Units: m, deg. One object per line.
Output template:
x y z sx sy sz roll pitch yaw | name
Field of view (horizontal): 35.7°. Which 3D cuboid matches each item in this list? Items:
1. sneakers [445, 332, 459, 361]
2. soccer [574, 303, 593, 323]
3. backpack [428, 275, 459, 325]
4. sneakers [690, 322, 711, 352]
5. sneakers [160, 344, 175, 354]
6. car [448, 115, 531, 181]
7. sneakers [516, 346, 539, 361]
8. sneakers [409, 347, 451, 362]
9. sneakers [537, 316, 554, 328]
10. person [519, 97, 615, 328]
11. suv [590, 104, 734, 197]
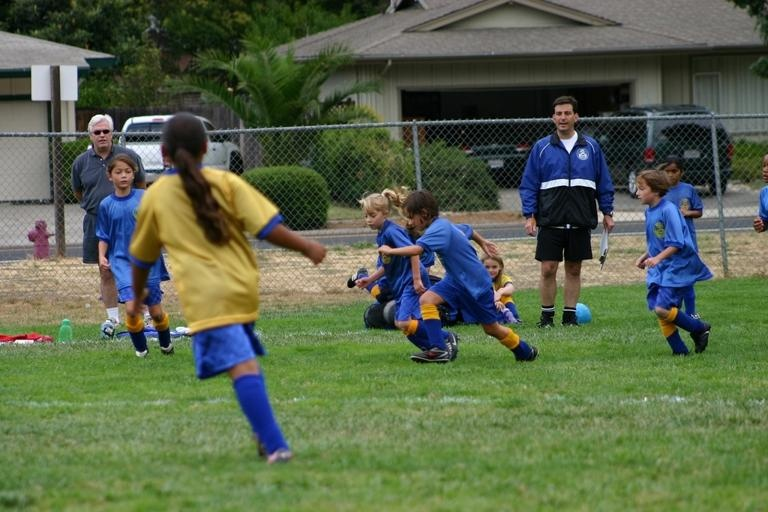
0.904 1.147 15.425 0.124 0.368 0.167 -4 -5 12 | sneakers
2.861 0.801 16.891 0.240 0.254 0.284 1 0 14 | soccer
0.876 0.708 16.803 0.408 0.693 0.230 -1 29 32 | backpack
4.120 1.019 15.378 0.222 0.407 0.284 -2 3 13 | sneakers
-2.876 1.234 15.841 0.114 0.135 0.151 -4 -35 -20 | sneakers
3.094 -2.907 32.418 1.460 1.154 3.295 0 8 3 | car
1.853 1.233 15.271 0.159 0.134 0.360 16 -5 27 | sneakers
0.624 1.289 15.395 0.497 0.208 0.198 3 -13 -1 | sneakers
2.290 0.917 16.704 0.200 0.136 0.124 10 -8 -5 | sneakers
2.580 -0.638 16.704 1.252 3.176 0.405 -2 3 6 | person
6.514 -2.070 27.577 2.474 2.176 4.096 -5 13 -16 | suv
